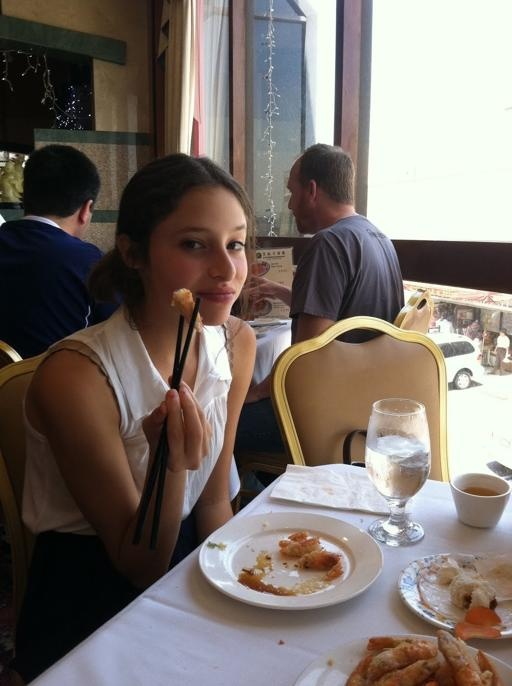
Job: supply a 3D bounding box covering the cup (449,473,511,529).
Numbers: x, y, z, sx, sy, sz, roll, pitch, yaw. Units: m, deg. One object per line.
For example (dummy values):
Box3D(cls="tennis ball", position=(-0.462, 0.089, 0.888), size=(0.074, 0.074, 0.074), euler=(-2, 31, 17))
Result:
Box3D(cls="cup", position=(0.332, 0.217, 0.785), size=(0.066, 0.052, 0.074), euler=(2, 3, 14))
